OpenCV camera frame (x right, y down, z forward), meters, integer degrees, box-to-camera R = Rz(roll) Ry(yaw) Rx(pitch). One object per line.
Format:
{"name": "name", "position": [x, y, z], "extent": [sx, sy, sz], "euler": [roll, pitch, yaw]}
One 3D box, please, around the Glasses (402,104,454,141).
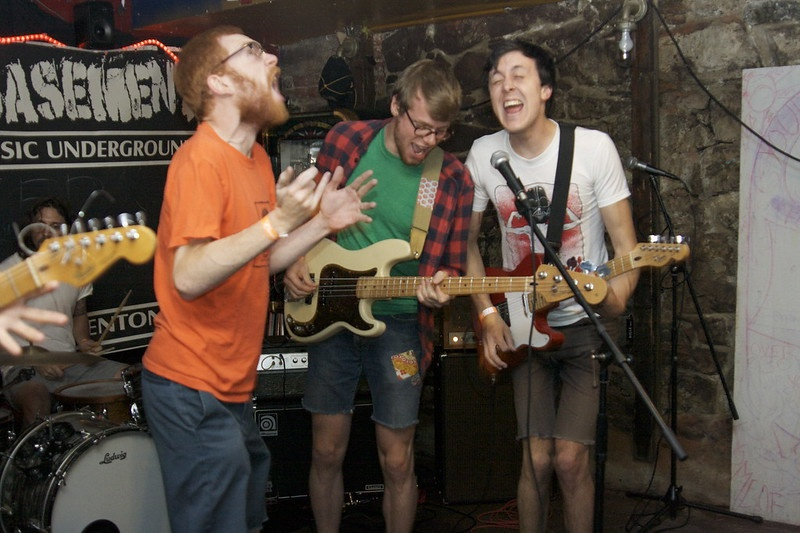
{"name": "Glasses", "position": [0.117, -0.763, 3.942], "extent": [0.176, 0.059, 0.181], "euler": [-2, 43, -43]}

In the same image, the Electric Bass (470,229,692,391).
{"name": "Electric Bass", "position": [0.878, 0.256, 3.800], "extent": [1.116, 0.725, 0.534], "euler": [-2, 5, 23]}
